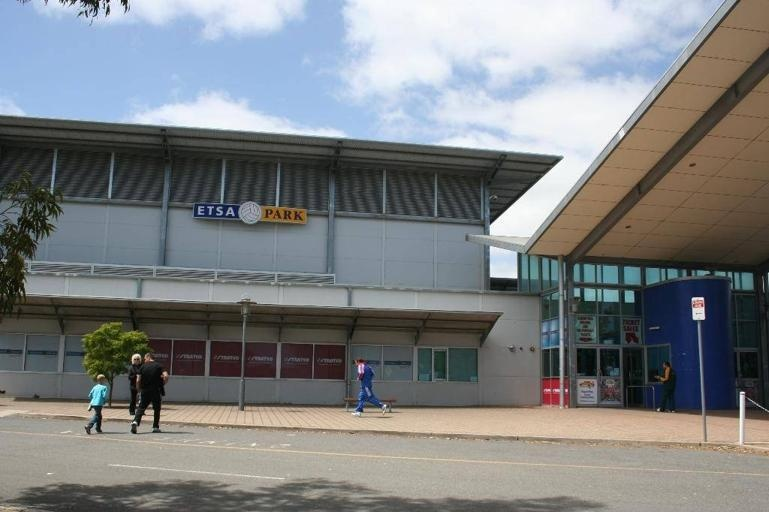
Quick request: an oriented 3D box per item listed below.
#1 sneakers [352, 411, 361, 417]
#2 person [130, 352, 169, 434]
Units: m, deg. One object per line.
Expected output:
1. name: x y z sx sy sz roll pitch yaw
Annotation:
1. sneakers: -1.031 5.588 25.054 0.456 0.189 0.153 0 -11 34
2. person: -6.475 3.688 19.081 1.077 2.087 1.315 -6 -11 25
